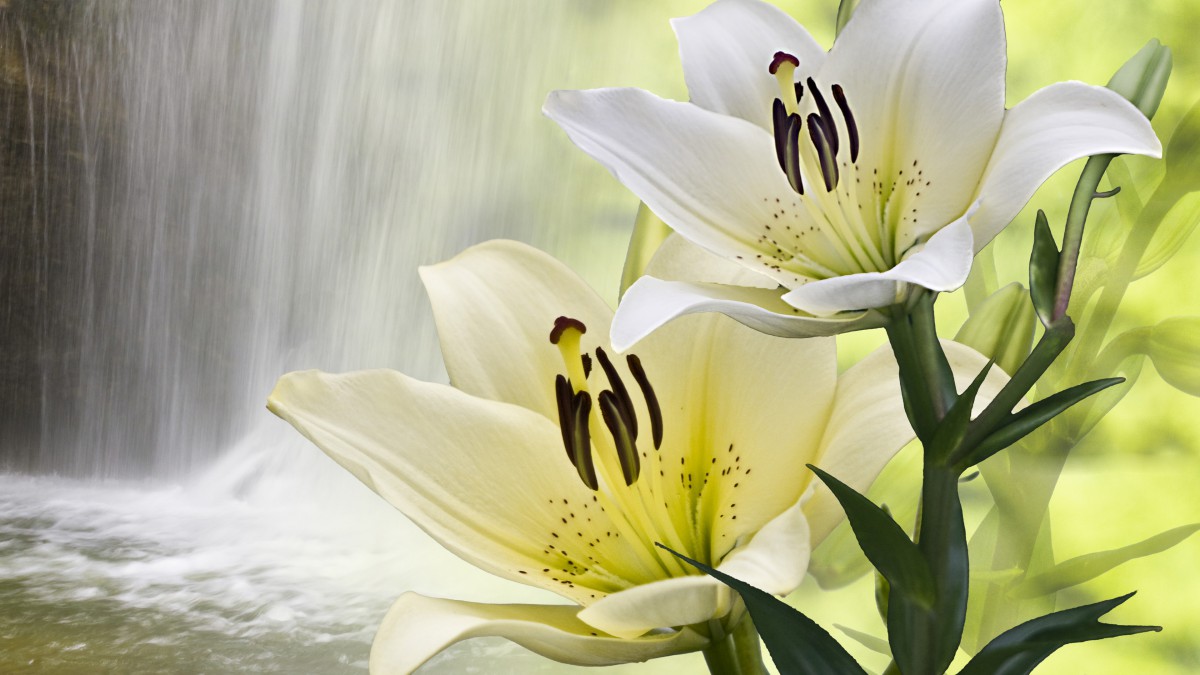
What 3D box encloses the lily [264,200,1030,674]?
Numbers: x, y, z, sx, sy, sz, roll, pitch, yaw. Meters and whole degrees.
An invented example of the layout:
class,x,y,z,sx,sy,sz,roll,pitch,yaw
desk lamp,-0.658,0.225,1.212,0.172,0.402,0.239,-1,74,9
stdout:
class,x,y,z,sx,sy,sz,roll,pitch,yaw
lily,0.043,0.067,0.798,0.415,0.212,0.432,40,81,24
